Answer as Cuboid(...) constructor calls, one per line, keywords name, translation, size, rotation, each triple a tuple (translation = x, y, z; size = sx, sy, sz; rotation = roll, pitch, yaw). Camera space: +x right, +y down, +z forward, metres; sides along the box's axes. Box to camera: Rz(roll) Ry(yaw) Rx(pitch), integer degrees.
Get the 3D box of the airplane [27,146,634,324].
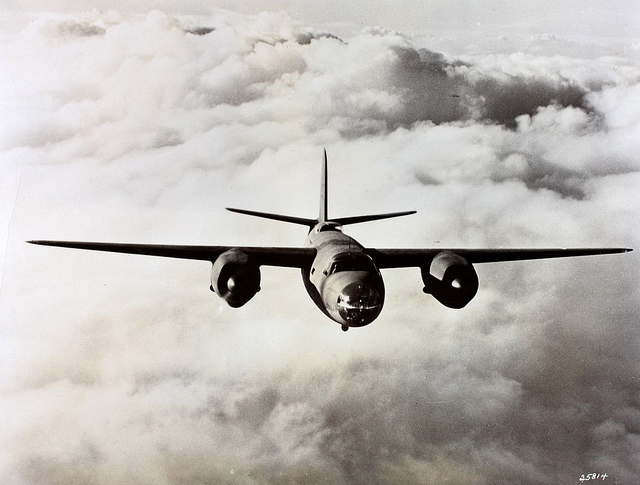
Cuboid(name="airplane", translation=(1.383, 1.852, 53.292), size=(13.370, 17.841, 5.344), rotation=(37, 108, 45))
